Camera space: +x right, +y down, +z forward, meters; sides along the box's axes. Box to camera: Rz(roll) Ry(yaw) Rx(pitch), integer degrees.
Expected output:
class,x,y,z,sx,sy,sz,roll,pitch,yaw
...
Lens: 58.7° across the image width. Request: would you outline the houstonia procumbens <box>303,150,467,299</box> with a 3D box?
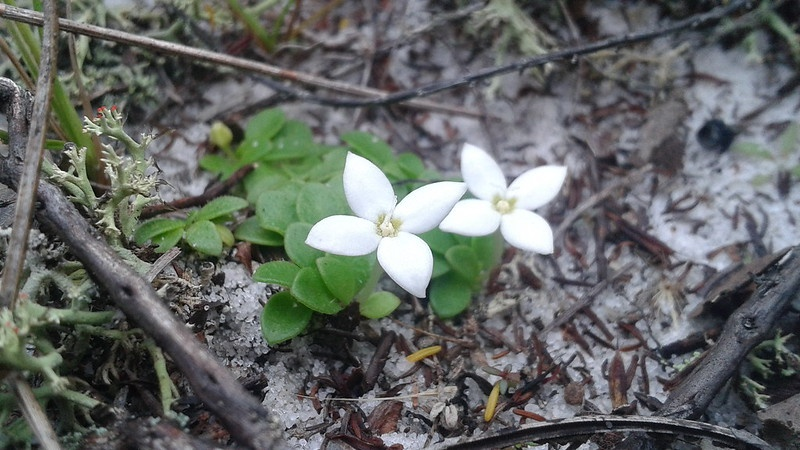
class,x,y,z,sx,sy,sz,roll,pitch,yaw
houstonia procumbens,-0.075,0.017,3.507,0.735,0.625,0.389,9,-45,-9
